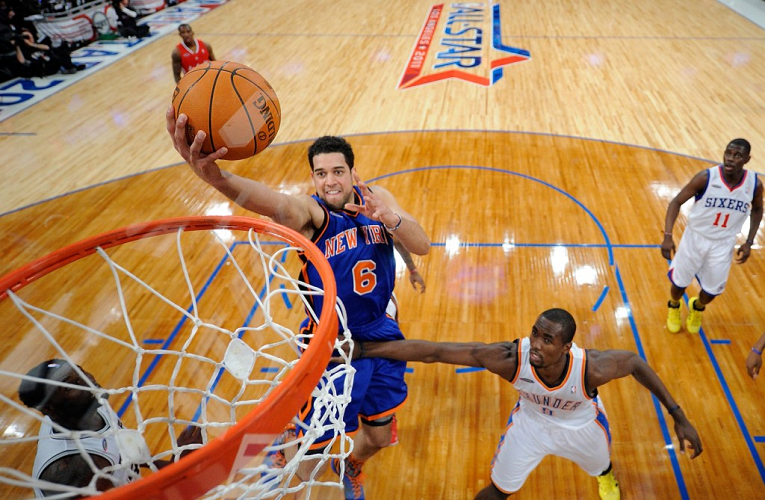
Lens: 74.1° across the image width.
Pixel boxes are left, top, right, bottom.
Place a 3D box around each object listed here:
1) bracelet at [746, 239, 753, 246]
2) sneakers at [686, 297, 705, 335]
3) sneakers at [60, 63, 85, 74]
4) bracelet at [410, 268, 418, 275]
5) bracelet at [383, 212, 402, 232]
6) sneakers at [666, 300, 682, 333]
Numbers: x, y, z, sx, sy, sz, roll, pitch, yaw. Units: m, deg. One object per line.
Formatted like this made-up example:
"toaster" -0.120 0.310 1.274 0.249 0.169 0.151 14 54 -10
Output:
"bracelet" 2.932 -0.061 4.054 0.037 0.027 0.036 -28 35 2
"sneakers" 2.579 0.558 4.234 0.122 0.337 0.135 0 10 12
"sneakers" -5.147 -3.012 8.429 0.293 0.097 0.198 -15 7 -36
"bracelet" 0.245 0.162 3.835 0.044 0.024 0.078 4 3 1
"bracelet" 0.081 -0.158 3.100 0.102 0.028 0.104 -54 18 -2
"sneakers" 2.434 0.559 4.245 0.105 0.297 0.121 1 5 23
